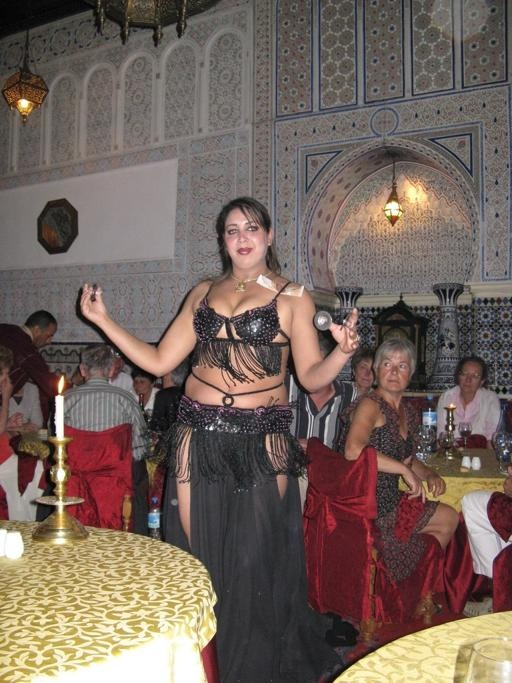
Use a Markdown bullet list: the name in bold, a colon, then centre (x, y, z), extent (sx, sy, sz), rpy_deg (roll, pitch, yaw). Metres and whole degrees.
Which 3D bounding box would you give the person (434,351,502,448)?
- **person**: centre (1.830, 0.538, 5.086), extent (0.539, 0.753, 0.543), rpy_deg (-2, 9, -24)

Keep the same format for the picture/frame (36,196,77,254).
- **picture/frame**: centre (-2.596, -1.525, 7.731), extent (0.702, 0.660, 0.048), rpy_deg (18, 8, 24)

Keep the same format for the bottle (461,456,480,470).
- **bottle**: centre (1.262, 0.711, 3.436), extent (0.109, 0.065, 0.066), rpy_deg (-1, 4, 29)

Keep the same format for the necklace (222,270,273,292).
- **necklace**: centre (-0.025, -0.236, 2.312), extent (0.140, 0.072, 0.084), rpy_deg (-10, 35, 2)
